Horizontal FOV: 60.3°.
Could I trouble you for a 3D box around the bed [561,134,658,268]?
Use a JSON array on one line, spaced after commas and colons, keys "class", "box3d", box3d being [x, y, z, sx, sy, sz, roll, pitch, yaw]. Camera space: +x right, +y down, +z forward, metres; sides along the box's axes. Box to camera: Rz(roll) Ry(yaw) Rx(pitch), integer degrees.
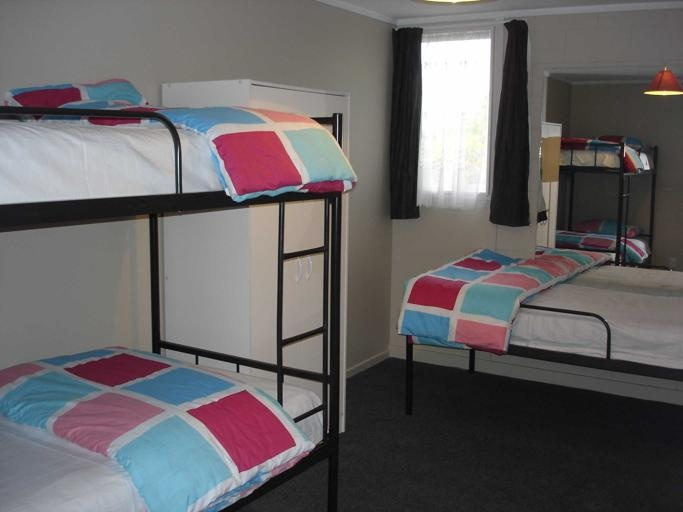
[{"class": "bed", "box3d": [2.328, -0.474, 5.274, 0.809, 1.217, 1.258, 1, 2, 27]}]
